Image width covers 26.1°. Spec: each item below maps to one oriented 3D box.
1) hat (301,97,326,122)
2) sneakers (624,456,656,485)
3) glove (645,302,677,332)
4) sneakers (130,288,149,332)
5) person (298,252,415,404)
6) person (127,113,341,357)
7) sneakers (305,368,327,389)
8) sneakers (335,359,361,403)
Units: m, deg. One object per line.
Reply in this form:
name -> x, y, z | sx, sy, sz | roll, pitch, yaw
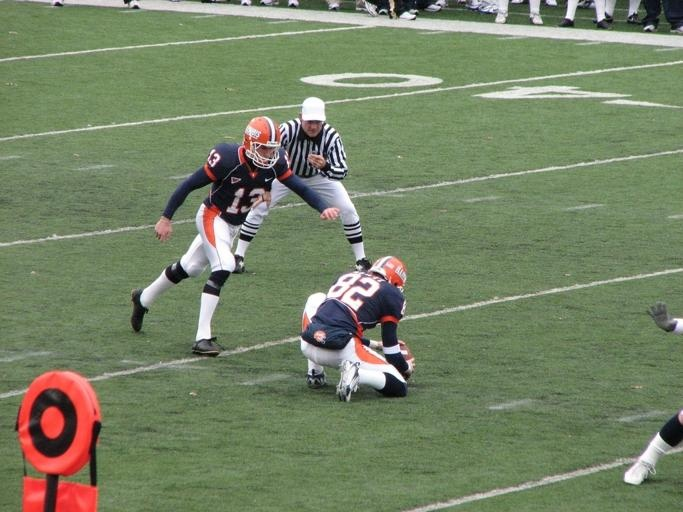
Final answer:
hat -> -0.255, -1.376, 13.789 | 0.229, 0.134, 0.273 | 2, 26, -7
sneakers -> 2.129, 1.532, 10.533 | 0.162, 0.092, 0.244 | 27, 40, 32
glove -> 2.322, 0.437, 10.571 | 0.201, 0.213, 0.264 | 6, 11, 7
sneakers -> -1.729, 0.463, 12.596 | 0.226, 0.329, 0.150 | 3, 7, 25
person -> 0.141, 0.568, 11.566 | 0.868, 1.070, 0.555 | 4, 12, -6
person -> -0.955, -0.203, 12.386 | 1.530, 1.936, 0.774 | 5, 12, -2
sneakers -> -0.208, 0.983, 11.624 | 0.103, 0.080, 0.213 | 2, 6, 7
sneakers -> 0.066, 0.971, 11.393 | 0.164, 0.307, 0.169 | 8, 0, 4
